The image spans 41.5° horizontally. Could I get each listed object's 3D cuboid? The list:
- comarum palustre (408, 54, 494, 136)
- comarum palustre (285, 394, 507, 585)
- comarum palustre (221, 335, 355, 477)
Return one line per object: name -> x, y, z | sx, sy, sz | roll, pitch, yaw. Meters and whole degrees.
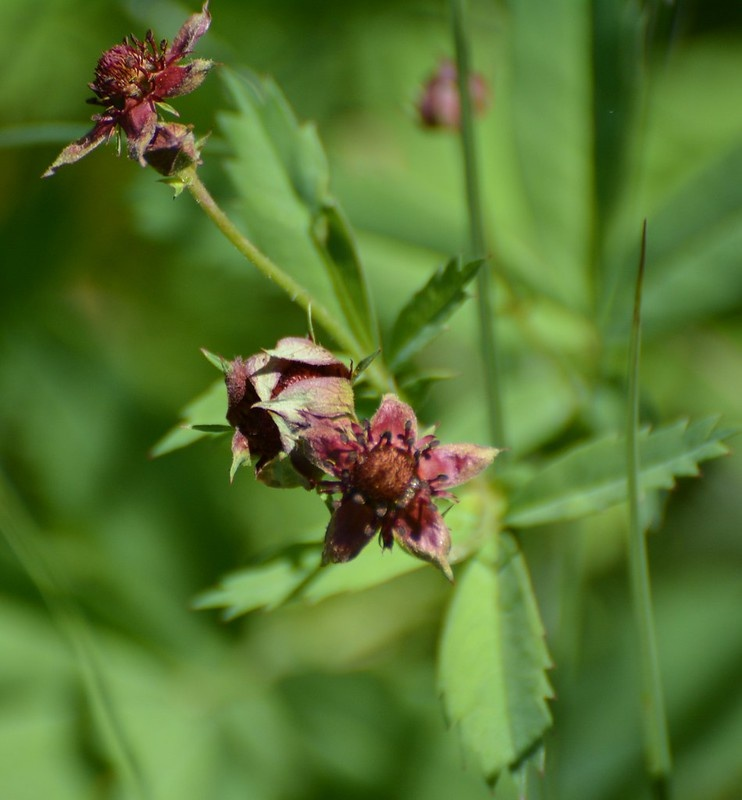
comarum palustre -> 0.101, -0.373, 1.197 | 0.036, 0.091, 0.093 | 15, -21, -39
comarum palustre -> 0.032, 0.091, 0.923 | 0.165, 0.081, 0.197 | -16, 4, 15
comarum palustre -> -0.058, 0.000, 0.912 | 0.098, 0.054, 0.073 | -14, 21, -12
